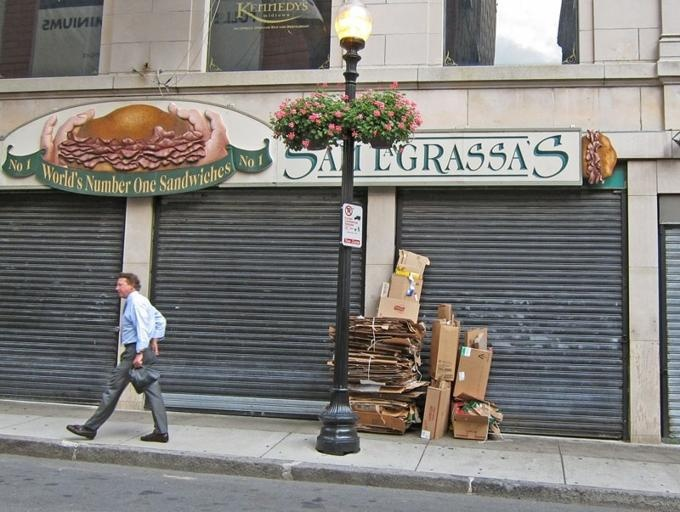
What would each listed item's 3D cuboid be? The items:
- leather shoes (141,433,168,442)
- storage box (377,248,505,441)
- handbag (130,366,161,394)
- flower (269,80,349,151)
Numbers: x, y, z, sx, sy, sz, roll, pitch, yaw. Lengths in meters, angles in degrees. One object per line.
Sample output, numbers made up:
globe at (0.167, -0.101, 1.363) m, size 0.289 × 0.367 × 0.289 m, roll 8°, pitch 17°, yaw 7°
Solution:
leather shoes at (-2.679, 2.603, 13.057) m, size 0.450 × 0.146 × 0.136 m, roll 4°, pitch -7°, yaw 1°
storage box at (1.683, 1.567, 15.032) m, size 2.612 × 2.884 × 2.689 m, roll 2°, pitch 1°, yaw -2°
handbag at (-2.812, 1.770, 12.996) m, size 0.443 × 0.332 × 0.152 m, roll 34°, pitch 2°, yaw -6°
flower at (-0.479, -1.988, 13.365) m, size 1.323 × 0.814 × 1.345 m, roll -1°, pitch 16°, yaw -2°
